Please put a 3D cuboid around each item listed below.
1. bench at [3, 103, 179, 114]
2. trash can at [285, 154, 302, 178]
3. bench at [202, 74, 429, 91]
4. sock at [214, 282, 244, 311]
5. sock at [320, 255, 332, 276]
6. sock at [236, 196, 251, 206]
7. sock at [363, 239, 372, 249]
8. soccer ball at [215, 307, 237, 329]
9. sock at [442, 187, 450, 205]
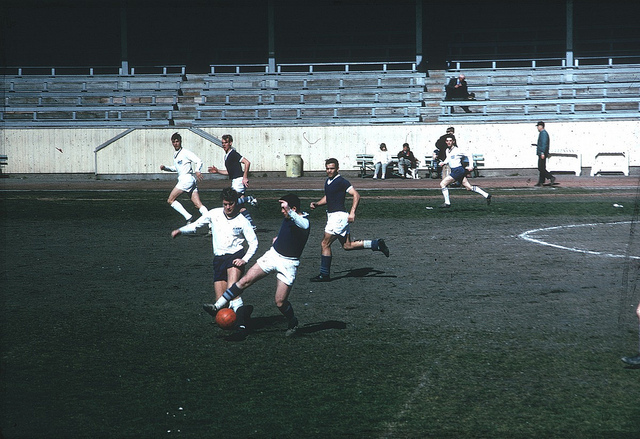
[{"bbox_3d":[-11.447,-5.525,44.988,8.047,0.497,1.508,0,5,1],"label":"bench"},{"bbox_3d":[-1.218,-2.342,40.720,0.746,1.028,0.569,0,4,-1],"label":"trash can"},{"bbox_3d":[-0.109,-7.196,47.456,11.375,0.892,2.127,0,5,3],"label":"bench"},{"bbox_3d":[-1.787,1.518,17.383,0.454,0.516,0.329,-2,5,-23],"label":"sock"},{"bbox_3d":[0.115,1.063,19.848,0.200,0.436,0.149,-1,4,-9],"label":"sock"},{"bbox_3d":[-2.049,-0.477,23.757,0.294,0.223,0.865,21,0,-4],"label":"sock"},{"bbox_3d":[1.072,0.595,20.436,0.207,0.137,0.162,1,-2,-1],"label":"sock"},{"bbox_3d":[-1.813,1.923,17.077,0.390,0.345,0.365,6,-4,0],"label":"soccer ball"},{"bbox_3d":[4.009,-0.715,28.544,0.226,0.531,0.741,1,4,7],"label":"sock"}]
